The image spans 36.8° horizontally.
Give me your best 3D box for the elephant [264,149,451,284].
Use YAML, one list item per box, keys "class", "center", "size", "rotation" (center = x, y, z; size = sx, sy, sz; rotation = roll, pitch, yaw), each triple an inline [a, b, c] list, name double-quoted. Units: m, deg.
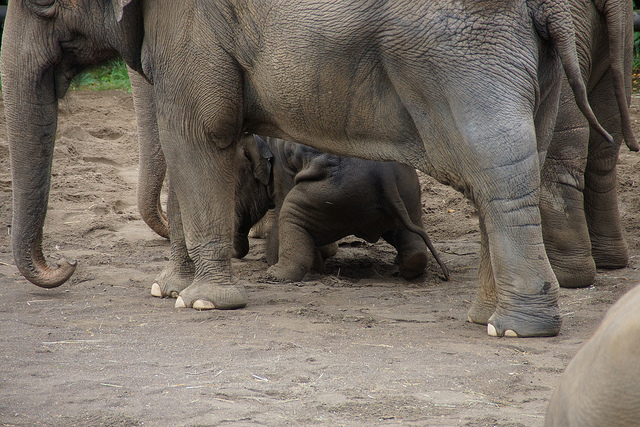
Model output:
- class: "elephant"
  center: [0.181, -0.106, 7.382]
  size: [1.185, 1.039, 1.765]
  rotation: [-10, 8, -41]
